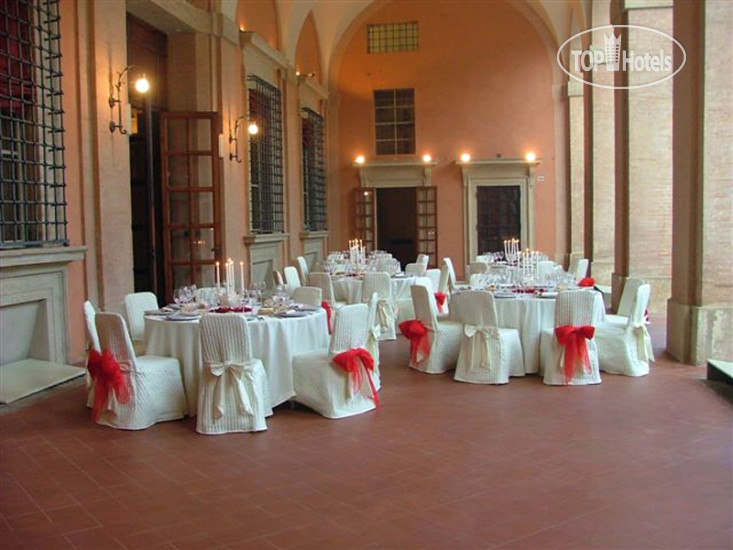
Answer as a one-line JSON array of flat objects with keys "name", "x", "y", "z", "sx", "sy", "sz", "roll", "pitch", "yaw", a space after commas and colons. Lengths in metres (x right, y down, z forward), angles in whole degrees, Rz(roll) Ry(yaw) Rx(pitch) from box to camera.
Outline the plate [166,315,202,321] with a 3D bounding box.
[{"name": "plate", "x": -1.911, "y": 0.456, "z": 5.937, "sx": 0.351, "sy": 0.038, "sz": 0.204, "roll": -1, "pitch": 11, "yaw": -3}]
